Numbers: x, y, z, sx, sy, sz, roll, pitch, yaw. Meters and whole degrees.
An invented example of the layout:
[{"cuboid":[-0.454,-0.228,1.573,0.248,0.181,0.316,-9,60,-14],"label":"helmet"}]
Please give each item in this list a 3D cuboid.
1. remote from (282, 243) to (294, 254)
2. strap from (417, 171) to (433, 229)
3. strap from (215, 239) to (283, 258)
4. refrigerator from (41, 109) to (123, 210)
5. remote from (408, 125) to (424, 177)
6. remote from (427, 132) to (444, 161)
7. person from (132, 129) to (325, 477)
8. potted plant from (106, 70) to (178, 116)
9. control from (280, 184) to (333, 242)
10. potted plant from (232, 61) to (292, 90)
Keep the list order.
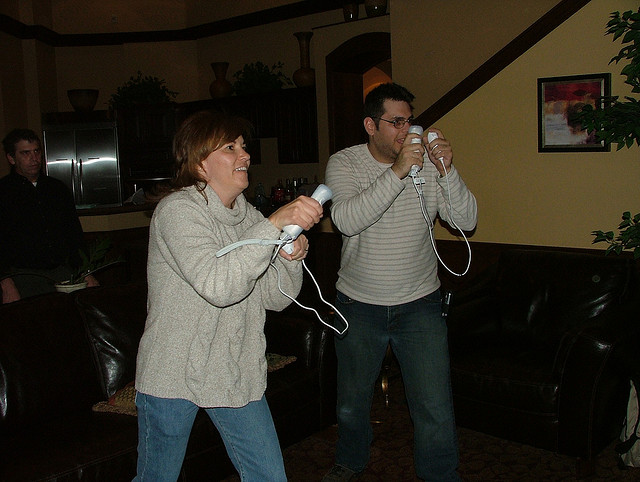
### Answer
[{"cuboid":[-0.100,0.023,1.572,0.022,0.034,0.033,-9,-33,-16],"label":"remote"},{"cuboid":[0.467,-0.173,2.215,0.019,0.264,0.041,-15,6,12],"label":"strap"},{"cuboid":[-0.212,0.019,1.490,0.204,0.048,0.033,-4,11,-8],"label":"strap"},{"cuboid":[-3.962,-1.133,8.348,1.091,1.707,0.724,-6,-15,-18],"label":"refrigerator"},{"cuboid":[0.406,-0.388,2.077,0.059,0.225,0.057,2,-15,-5],"label":"remote"},{"cuboid":[0.495,-0.410,2.159,0.094,0.103,0.030,-17,5,-23],"label":"remote"},{"cuboid":[-0.328,0.209,1.650,0.623,1.142,0.426,-7,11,-23],"label":"person"},{"cuboid":[-2.900,-2.330,8.109,0.993,0.661,1.025,-2,5,17],"label":"potted plant"},{"cuboid":[-0.039,-0.090,1.619,0.081,0.091,0.308,32,53,13],"label":"control"},{"cuboid":[-0.788,-2.391,7.229,0.681,0.402,0.574,-1,2,-29],"label":"potted plant"}]
